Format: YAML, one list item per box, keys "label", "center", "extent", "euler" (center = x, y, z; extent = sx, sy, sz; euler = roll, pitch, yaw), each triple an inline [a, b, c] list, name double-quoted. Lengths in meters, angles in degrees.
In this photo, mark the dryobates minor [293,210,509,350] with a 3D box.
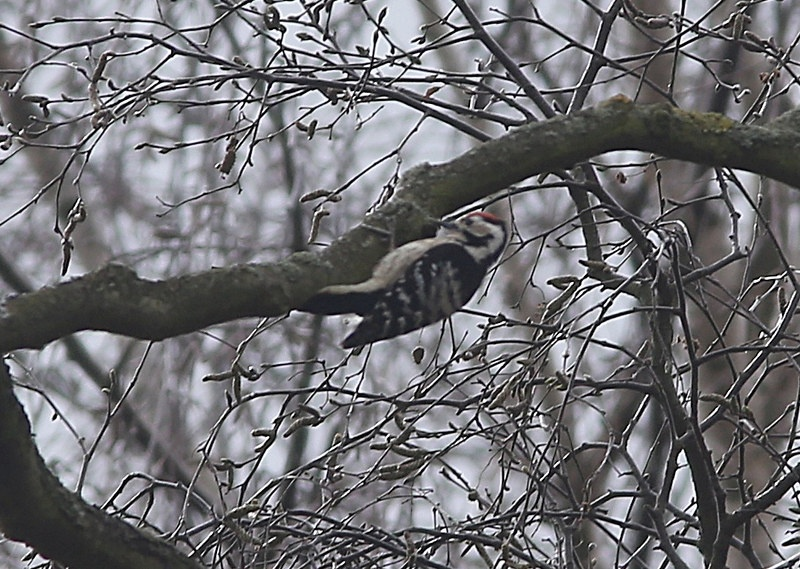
- label: "dryobates minor"
  center: [-0.055, -0.080, 8.826]
  extent: [0.460, 1.305, 0.770]
  euler: [63, -26, 8]
